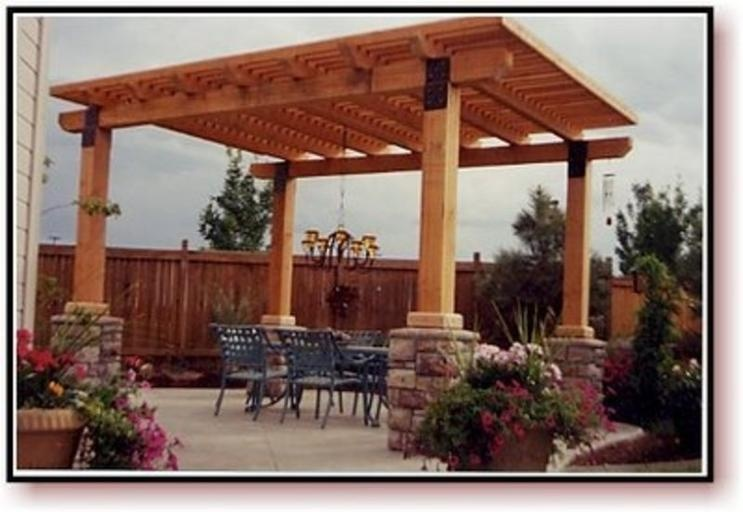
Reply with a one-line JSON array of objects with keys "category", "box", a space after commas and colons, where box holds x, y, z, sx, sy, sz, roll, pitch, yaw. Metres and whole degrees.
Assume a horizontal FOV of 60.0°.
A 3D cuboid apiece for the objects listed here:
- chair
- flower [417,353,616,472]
[{"category": "chair", "box": [-0.761, 1.412, 7.932, 1.995, 1.109, 1.771, 1, -4, 18]}, {"category": "flower", "box": [1.103, 1.294, 5.193, 1.129, 0.893, 1.178, 2, -5, -15]}]
